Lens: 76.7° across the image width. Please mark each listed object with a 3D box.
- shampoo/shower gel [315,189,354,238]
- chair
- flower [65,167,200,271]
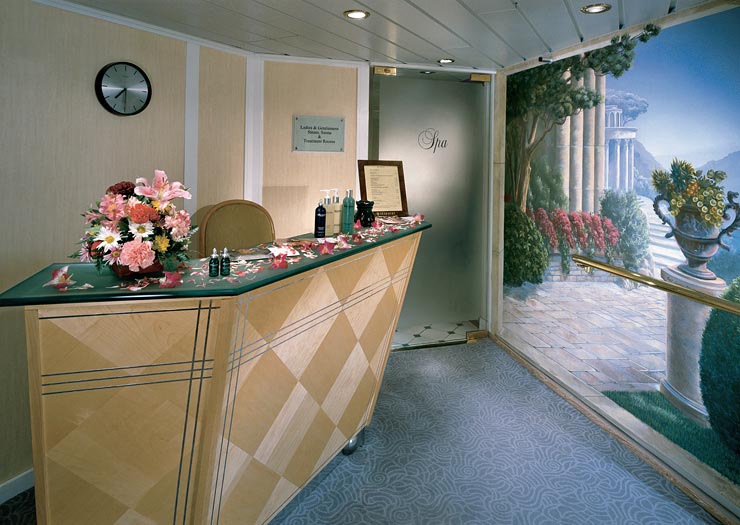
[{"bbox_3d":[-0.236,-0.343,3.242,0.214,0.300,0.346,2,11,22],"label":"shampoo/shower gel"},{"bbox_3d":[-1.167,-0.293,4.177,0.508,0.898,0.581,-3,7,-24],"label":"chair"},{"bbox_3d":[-1.148,-0.197,2.395,0.562,0.406,0.597,-6,20,-2],"label":"flower"}]
